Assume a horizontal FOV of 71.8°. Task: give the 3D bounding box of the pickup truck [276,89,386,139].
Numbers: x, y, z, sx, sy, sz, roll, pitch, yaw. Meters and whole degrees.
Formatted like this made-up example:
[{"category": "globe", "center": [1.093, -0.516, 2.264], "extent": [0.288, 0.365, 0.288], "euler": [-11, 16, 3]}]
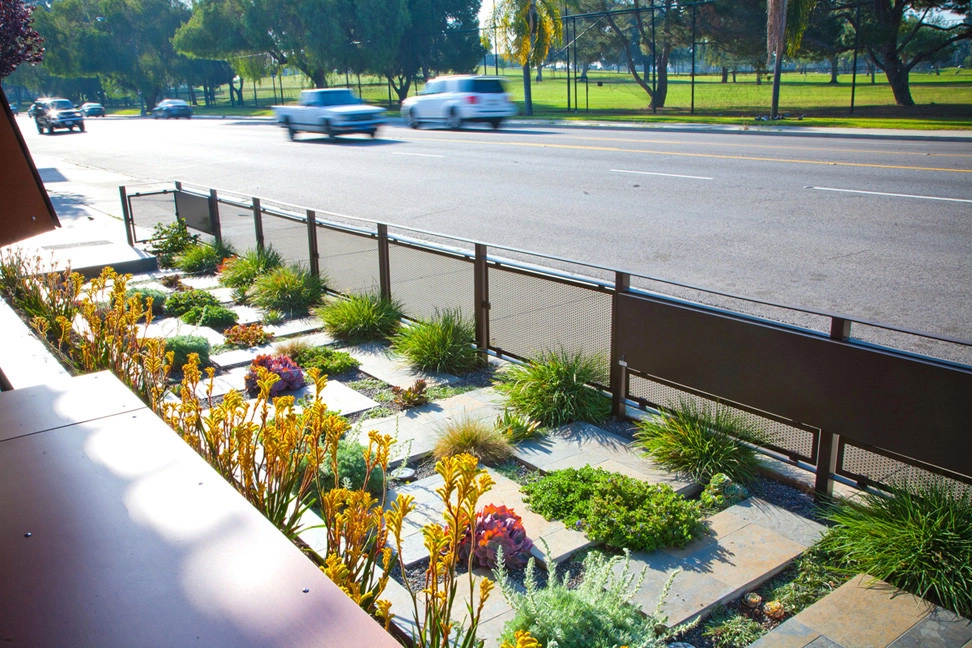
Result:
[{"category": "pickup truck", "center": [-7.868, -10.458, 33.678], "extent": [6.353, 2.578, 1.694], "euler": [19, 31, 37]}]
